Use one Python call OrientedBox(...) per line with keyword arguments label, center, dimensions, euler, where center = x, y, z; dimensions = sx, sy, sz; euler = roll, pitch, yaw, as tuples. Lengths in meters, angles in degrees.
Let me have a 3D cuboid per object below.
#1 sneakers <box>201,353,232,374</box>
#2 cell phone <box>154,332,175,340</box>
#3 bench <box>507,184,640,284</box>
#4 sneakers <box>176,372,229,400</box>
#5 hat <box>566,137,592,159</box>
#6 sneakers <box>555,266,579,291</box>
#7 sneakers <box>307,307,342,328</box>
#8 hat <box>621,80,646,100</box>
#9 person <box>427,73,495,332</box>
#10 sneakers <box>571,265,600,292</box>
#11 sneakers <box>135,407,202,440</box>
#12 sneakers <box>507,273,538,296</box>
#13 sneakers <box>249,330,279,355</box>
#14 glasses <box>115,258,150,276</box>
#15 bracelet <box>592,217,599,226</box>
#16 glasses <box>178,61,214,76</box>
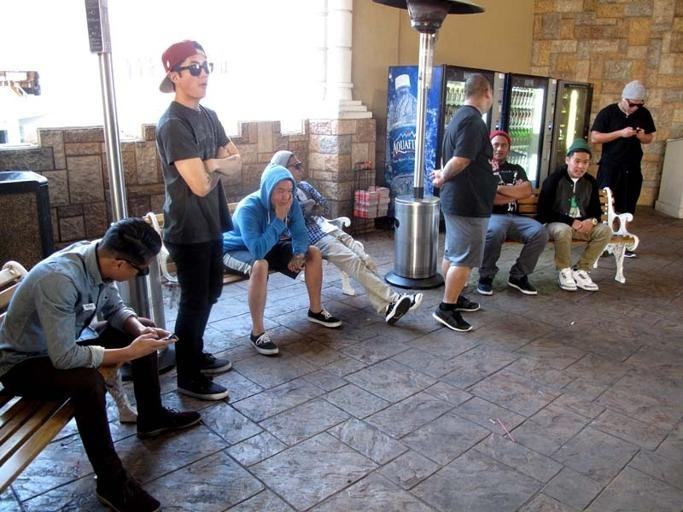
OrientedBox(label="sneakers", center=(-0.894, 0.803, 3.489), dimensions=(0.273, 0.099, 0.094), euler=(2, 13, 16))
OrientedBox(label="cell phone", center=(-0.992, 0.448, 2.617), dimensions=(0.075, 0.035, 0.037), euler=(6, -11, 27))
OrientedBox(label="bench", center=(2.600, -0.217, 5.359), dimensions=(1.355, 0.811, 0.594), euler=(-3, 9, -21))
OrientedBox(label="sneakers", center=(-0.954, 0.902, 3.196), dimensions=(0.413, 0.148, 0.144), euler=(7, 7, 1))
OrientedBox(label="hat", center=(2.637, -1.223, 5.213), dimensions=(0.267, 0.213, 0.361), euler=(1, 4, 8))
OrientedBox(label="sneakers", center=(2.495, 0.249, 5.143), dimensions=(0.187, 0.227, 0.238), euler=(0, 17, 6))
OrientedBox(label="sneakers", center=(-0.157, 0.571, 4.294), dimensions=(0.333, 0.123, 0.129), euler=(14, 23, 19))
OrientedBox(label="hat", center=(3.981, -2.244, 6.444), dimensions=(0.323, 0.268, 0.434), euler=(10, 25, 25))
OrientedBox(label="person", center=(1.077, -0.475, 4.215), dimensions=(0.545, 2.190, 0.820), euler=(4, 19, 19))
OrientedBox(label="sneakers", center=(2.666, 0.261, 5.179), dimensions=(0.165, 0.168, 0.389), euler=(-8, 15, -18))
OrientedBox(label="sneakers", center=(-1.055, 1.016, 2.940), dimensions=(0.404, 0.150, 0.144), euler=(-5, 6, -35))
OrientedBox(label="sneakers", center=(1.943, 0.302, 5.110), dimensions=(0.145, 0.140, 0.353), euler=(-15, 27, -43))
OrientedBox(label="sneakers", center=(-0.634, 0.695, 3.770), dimensions=(0.275, 0.096, 0.117), euler=(14, 19, 42))
OrientedBox(label="glasses", center=(-1.061, 0.045, 2.356), dimensions=(0.117, 0.033, 0.114), euler=(36, 15, 27))
OrientedBox(label="bracelet", center=(2.811, -0.382, 5.216), dimensions=(0.081, 0.022, 0.074), euler=(11, 54, 1))
OrientedBox(label="glasses", center=(-0.916, -1.180, 2.972), dimensions=(0.112, 0.098, 0.221), euler=(13, 22, 39))
